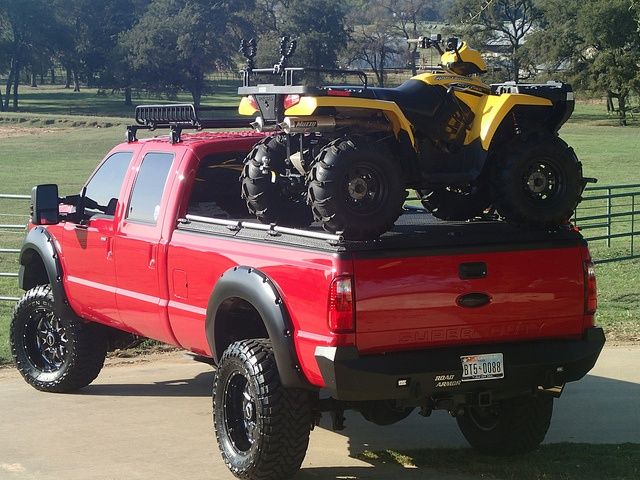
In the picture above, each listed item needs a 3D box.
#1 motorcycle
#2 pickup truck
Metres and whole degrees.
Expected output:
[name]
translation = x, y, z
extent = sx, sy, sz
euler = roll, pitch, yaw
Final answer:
[motorcycle]
translation = 0.872, -0.880, 6.435
extent = 2.269, 1.337, 1.444
euler = -4, 13, -15
[pickup truck]
translation = -0.733, -0.020, 7.309
extent = 2.723, 2.412, 5.749
euler = -4, 9, -40
